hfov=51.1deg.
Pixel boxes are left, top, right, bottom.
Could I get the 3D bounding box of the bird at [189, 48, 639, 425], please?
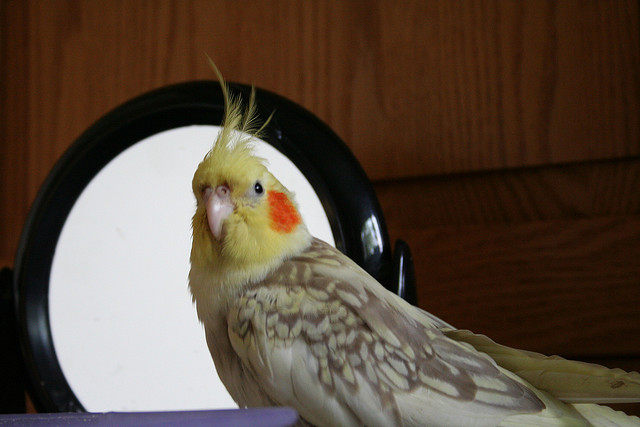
[{"bbox_3d":[0.065,0.114,1.290,0.774,0.834,0.359,3,-6,2],"label":"bird"}]
